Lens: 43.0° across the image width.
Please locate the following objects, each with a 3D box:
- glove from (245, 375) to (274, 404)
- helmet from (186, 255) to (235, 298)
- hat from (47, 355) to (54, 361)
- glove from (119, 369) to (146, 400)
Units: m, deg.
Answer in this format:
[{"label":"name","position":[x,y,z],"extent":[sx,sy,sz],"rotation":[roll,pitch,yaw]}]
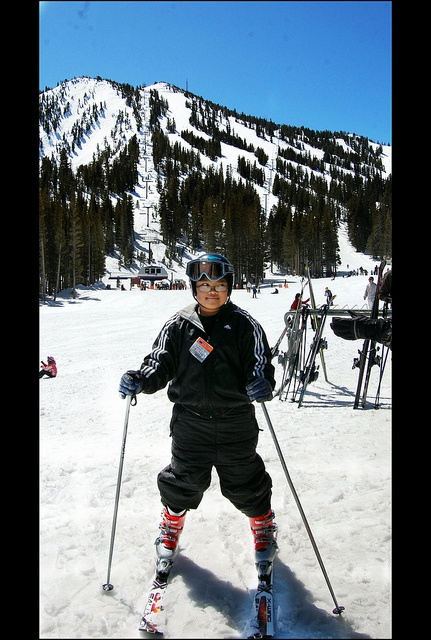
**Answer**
[{"label":"glove","position":[0.225,0.344,2.694],"extent":[0.109,0.113,0.050],"rotation":[4,45,13]},{"label":"helmet","position":[-0.030,-0.219,2.911],"extent":[0.187,0.261,0.242],"rotation":[0,-2,5]},{"label":"hat","position":[-3.352,0.763,11.134],"extent":[0.070,0.110,0.100],"rotation":[16,-31,9]},{"label":"glove","position":[-0.433,0.331,2.846],"extent":[0.103,0.164,0.147],"rotation":[1,1,9]}]
